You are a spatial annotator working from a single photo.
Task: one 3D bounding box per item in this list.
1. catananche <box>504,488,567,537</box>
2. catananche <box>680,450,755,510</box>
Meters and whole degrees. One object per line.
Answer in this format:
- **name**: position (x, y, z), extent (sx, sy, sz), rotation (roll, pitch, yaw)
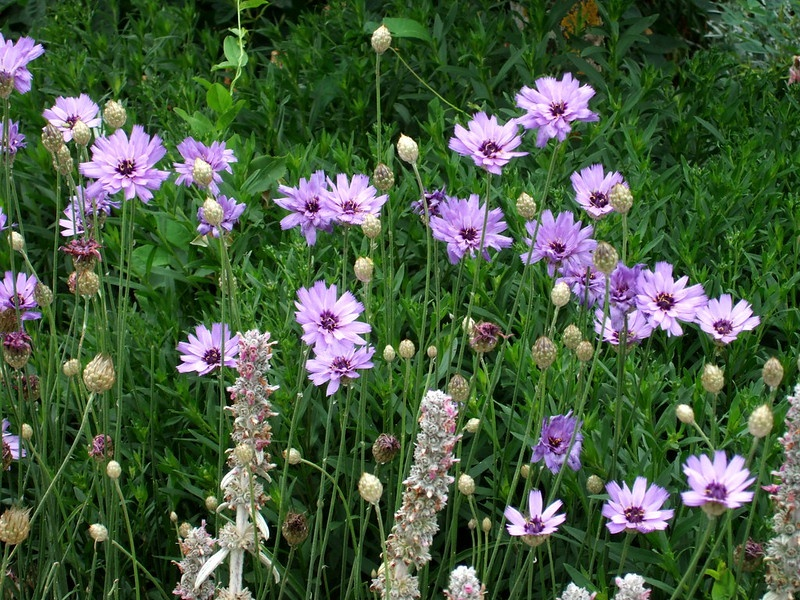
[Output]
- **catananche**: position (0.363, 0.603, 2.557), extent (0.134, 0.066, 0.169), rotation (4, 46, 14)
- **catananche**: position (0.793, 0.446, 2.370), extent (0.163, 0.111, 0.150), rotation (6, -2, 20)
